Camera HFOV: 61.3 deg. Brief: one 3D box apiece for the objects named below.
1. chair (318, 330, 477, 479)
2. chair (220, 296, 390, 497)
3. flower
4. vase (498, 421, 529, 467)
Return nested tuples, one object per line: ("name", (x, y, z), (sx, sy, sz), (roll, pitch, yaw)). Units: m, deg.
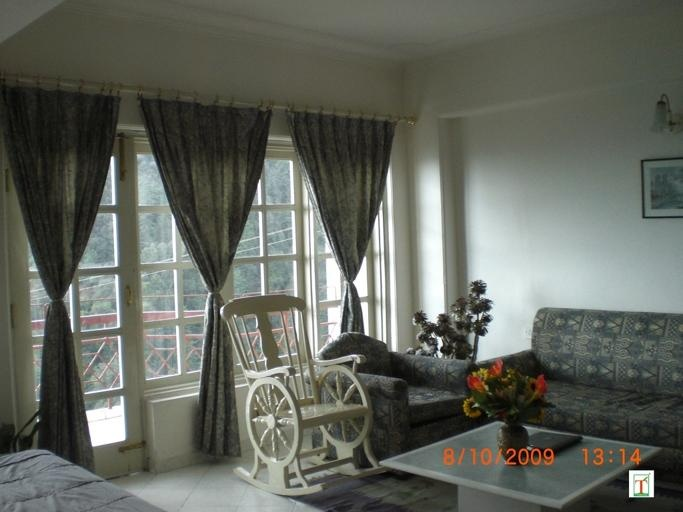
("chair", (0.404, 0.988, 4.281), (0.998, 0.876, 0.913), (0, -5, -42))
("chair", (-0.274, 0.914, 3.909), (0.741, 1.276, 0.913), (-1, 0, -44))
("flower", (0.895, 0.704, 3.160), (0.484, 0.332, 0.494), (3, -6, -2))
("vase", (0.917, 0.992, 3.098), (0.168, 0.196, 0.171), (-4, 0, -16))
